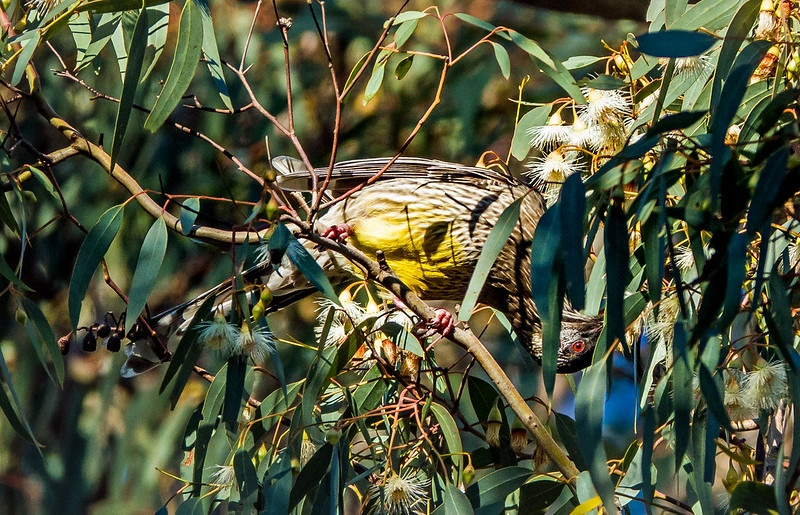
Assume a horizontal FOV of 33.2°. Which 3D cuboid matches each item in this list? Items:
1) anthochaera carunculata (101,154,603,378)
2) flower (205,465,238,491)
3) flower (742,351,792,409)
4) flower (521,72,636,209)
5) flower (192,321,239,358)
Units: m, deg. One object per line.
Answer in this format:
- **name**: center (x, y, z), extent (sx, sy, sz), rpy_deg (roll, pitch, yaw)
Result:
- **anthochaera carunculata**: center (-0.243, 0.029, 6.853), extent (1.140, 1.461, 2.990), rpy_deg (0, 4, -28)
- **flower**: center (-0.835, 1.009, 6.285), extent (0.112, 0.127, 0.051), rpy_deg (19, 25, 16)
- **flower**: center (1.664, 0.580, 6.104), extent (0.197, 0.229, 0.147), rpy_deg (0, 1, 26)
- **flower**: center (0.858, -0.590, 6.527), extent (0.534, 0.325, 0.568), rpy_deg (-40, 29, 5)
- **flower**: center (-0.818, 0.362, 6.070), extent (0.171, 0.163, 0.069), rpy_deg (0, 1, -7)
